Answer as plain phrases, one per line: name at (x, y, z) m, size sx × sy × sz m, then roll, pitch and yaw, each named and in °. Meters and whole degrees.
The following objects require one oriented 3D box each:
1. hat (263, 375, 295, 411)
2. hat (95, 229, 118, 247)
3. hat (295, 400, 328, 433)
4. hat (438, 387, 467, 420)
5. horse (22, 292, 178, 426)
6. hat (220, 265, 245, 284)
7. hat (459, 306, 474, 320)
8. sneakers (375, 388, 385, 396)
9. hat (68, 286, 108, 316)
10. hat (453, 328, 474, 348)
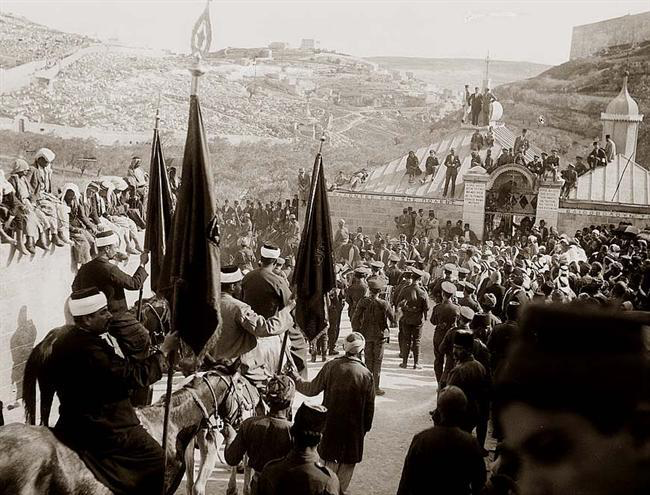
hat at (-0.406, 1.396, 6.941) m, size 0.245 × 0.334 × 0.326 m, roll 10°, pitch 40°, yaw -4°
hat at (-3.093, -0.134, 10.107) m, size 0.250 × 0.177 × 0.251 m, roll -4°, pitch 5°, yaw -26°
hat at (-0.106, 1.412, 5.945) m, size 0.220 × 0.221 × 0.215 m, roll 5°, pitch 6°, yaw -11°
hat at (1.126, 1.398, 6.390) m, size 0.217 × 0.292 × 0.284 m, roll -1°, pitch 11°, yaw -1°
horse at (-2.990, 1.701, 8.847) m, size 0.454 × 1.260 × 1.943 m, roll -12°, pitch -22°, yaw 24°
hat at (-1.088, 0.318, 8.498) m, size 0.175 × 0.220 × 0.474 m, roll 6°, pitch 7°, yaw 21°
hat at (1.996, 0.928, 9.957) m, size 0.172 × 0.202 × 0.243 m, roll 5°, pitch 7°, yaw 16°
sneakers at (1.006, 2.570, 12.646) m, size 0.223 × 0.098 × 0.087 m, roll -1°, pitch 3°, yaw -25°
hat at (-2.147, 0.499, 6.463) m, size 0.318 × 0.253 × 0.213 m, roll 1°, pitch 7°, yaw -18°
hat at (1.732, 1.127, 8.861) m, size 0.213 × 0.212 × 0.430 m, roll 4°, pitch 6°, yaw 7°
